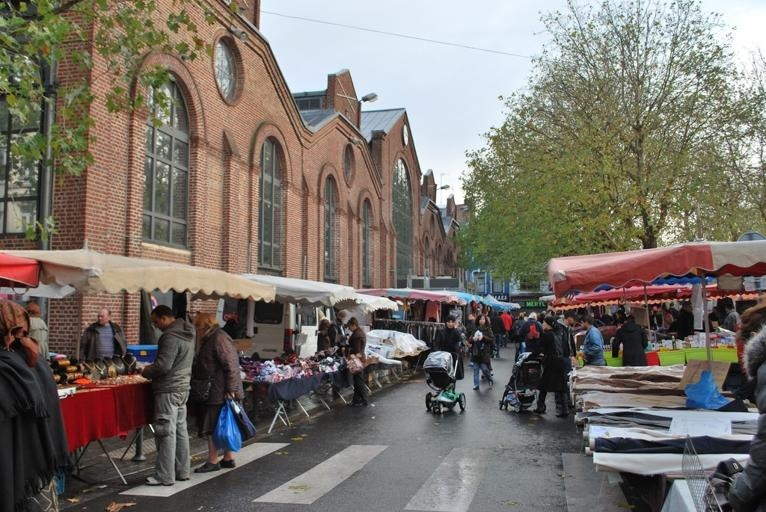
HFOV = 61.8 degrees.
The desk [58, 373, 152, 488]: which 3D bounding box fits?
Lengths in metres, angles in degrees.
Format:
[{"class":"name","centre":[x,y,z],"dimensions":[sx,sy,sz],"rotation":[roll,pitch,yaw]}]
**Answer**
[{"class":"desk","centre":[-4.465,2.737,10.243],"dimensions":[0.654,1.020,1.830],"rotation":[-1,-5,11]}]

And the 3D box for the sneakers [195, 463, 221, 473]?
[{"class":"sneakers","centre":[-3.024,3.594,10.930],"dimensions":[0.336,0.140,0.179],"rotation":[1,-11,0]}]

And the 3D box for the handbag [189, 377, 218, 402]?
[{"class":"handbag","centre":[-3.073,2.236,10.848],"dimensions":[0.297,0.405,0.154],"rotation":[1,-8,15]}]

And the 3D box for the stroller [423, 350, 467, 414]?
[{"class":"stroller","centre":[1.646,3.385,16.457],"dimensions":[1.033,1.706,1.472],"rotation":[-6,-27,20]}]

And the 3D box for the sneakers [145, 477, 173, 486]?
[{"class":"sneakers","centre":[-3.605,3.559,10.317],"dimensions":[0.423,0.193,0.160],"rotation":[-1,-7,11]}]

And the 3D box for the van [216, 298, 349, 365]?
[{"class":"van","centre":[-3.805,2.544,22.362],"dimensions":[2.100,1.861,3.284],"rotation":[-2,-3,24]}]
